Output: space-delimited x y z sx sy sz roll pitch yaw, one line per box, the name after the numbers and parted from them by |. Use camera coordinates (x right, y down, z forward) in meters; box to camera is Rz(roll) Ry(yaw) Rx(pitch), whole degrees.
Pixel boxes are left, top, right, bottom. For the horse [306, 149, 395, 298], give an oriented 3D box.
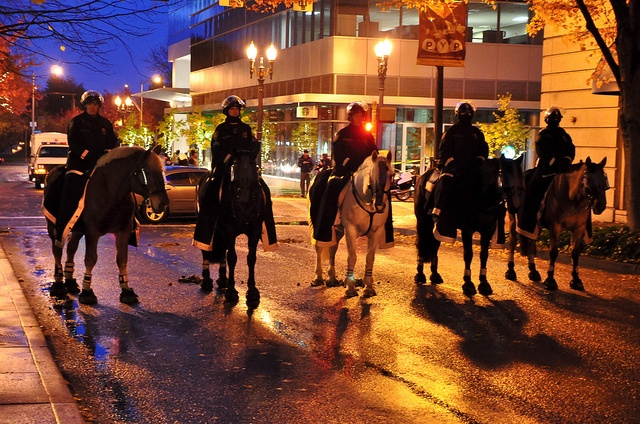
0.761 0.184 12.475 0.995 2.662 1.936 -8 10 -40 | horse

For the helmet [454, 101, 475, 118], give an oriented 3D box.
2.885 -2.047 13.217 0.297 0.294 0.383 2 -5 -2 | helmet

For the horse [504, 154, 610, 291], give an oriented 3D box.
4.896 0.275 13.959 1.054 2.522 3.578 4 -3 -10 | horse

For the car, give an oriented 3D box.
-4.239 -0.582 22.175 3.741 1.114 1.715 -3 5 -12 | car

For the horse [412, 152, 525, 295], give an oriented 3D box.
2.682 0.189 13.071 1.044 2.539 1.881 -8 10 -40 | horse

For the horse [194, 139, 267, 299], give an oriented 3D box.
-1.562 0.106 11.967 1.294 2.798 1.074 0 8 6 | horse

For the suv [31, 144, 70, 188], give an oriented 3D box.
-17.144 -3.428 42.587 2.493 2.077 4.658 0 9 -28 | suv

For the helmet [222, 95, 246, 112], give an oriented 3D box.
-1.553 -1.933 12.044 0.349 0.314 0.305 -3 8 -13 | helmet

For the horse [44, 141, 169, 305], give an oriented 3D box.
-3.721 0.216 11.422 2.747 2.679 0.949 5 10 35 | horse
